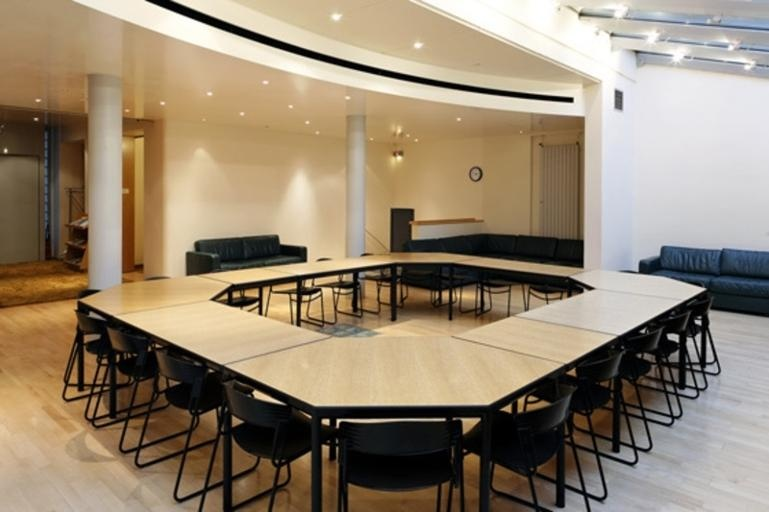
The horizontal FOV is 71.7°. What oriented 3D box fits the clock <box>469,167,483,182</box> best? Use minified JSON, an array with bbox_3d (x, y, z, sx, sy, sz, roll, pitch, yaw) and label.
[{"bbox_3d":[2.436,-2.191,14.192,0.099,0.419,0.422,-12,18,-41],"label":"clock"}]
